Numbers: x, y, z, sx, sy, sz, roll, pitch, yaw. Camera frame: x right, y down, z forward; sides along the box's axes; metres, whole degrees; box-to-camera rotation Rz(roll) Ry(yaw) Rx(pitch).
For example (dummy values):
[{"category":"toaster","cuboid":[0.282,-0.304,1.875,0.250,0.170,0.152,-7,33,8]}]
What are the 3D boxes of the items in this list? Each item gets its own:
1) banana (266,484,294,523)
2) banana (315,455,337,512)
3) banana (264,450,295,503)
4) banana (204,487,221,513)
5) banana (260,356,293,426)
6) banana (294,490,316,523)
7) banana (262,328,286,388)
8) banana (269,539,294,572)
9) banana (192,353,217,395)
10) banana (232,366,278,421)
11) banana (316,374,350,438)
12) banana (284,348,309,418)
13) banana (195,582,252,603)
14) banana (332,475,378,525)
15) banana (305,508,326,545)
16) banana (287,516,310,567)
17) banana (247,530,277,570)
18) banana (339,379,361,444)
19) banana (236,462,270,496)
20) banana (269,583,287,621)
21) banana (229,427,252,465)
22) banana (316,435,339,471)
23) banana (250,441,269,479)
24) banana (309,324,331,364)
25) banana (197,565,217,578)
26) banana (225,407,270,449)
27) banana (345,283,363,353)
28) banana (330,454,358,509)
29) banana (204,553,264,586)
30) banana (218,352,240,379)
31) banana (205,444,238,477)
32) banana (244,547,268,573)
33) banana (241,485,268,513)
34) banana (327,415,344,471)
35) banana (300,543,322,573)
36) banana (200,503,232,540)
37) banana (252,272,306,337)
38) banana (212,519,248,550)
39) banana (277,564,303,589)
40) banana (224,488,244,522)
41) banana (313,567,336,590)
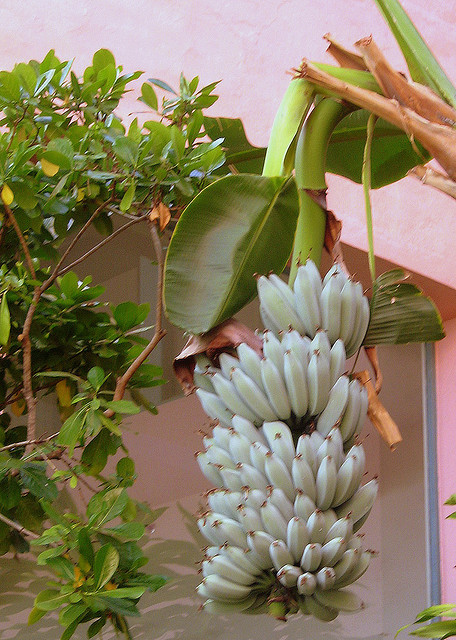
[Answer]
[{"category":"banana","cuboid":[0.081,0.278,1.225,0.023,0.072,0.023,-28,6,7]},{"category":"banana","cuboid":[0.152,0.257,1.258,0.033,0.085,0.070,-4,-15,4]},{"category":"banana","cuboid":[0.078,0.237,1.237,0.031,0.086,0.026,-27,7,1]},{"category":"banana","cuboid":[-0.029,0.299,1.316,0.019,0.053,0.045,3,15,2]},{"category":"banana","cuboid":[0.080,0.115,1.296,0.035,0.107,0.036,-5,14,41]},{"category":"banana","cuboid":[0.116,0.282,1.220,0.029,0.047,0.015,-27,12,-4]},{"category":"banana","cuboid":[0.069,0.061,1.295,0.029,0.085,0.026,-13,-11,-1]},{"category":"banana","cuboid":[0.078,0.348,1.196,0.027,0.048,0.022,-34,10,-13]},{"category":"banana","cuboid":[-0.044,0.091,1.354,0.016,0.058,0.038,-26,-26,25]},{"category":"banana","cuboid":[0.041,0.120,1.320,0.037,0.116,0.039,-35,-4,-4]},{"category":"banana","cuboid":[0.170,0.138,1.288,0.042,0.111,0.034,16,2,-4]},{"category":"banana","cuboid":[0.108,0.100,1.276,0.036,0.102,0.033,-13,8,-12]},{"category":"banana","cuboid":[-0.009,0.429,1.257,0.082,0.021,0.063,-1,-21,17]},{"category":"banana","cuboid":[0.192,0.292,1.330,0.046,0.053,0.135,12,-28,-25]},{"category":"banana","cuboid":[0.133,0.312,1.215,0.021,0.061,0.020,-3,13,36]},{"category":"banana","cuboid":[0.105,0.328,1.223,0.036,0.031,0.107,22,22,-8]},{"category":"banana","cuboid":[0.049,0.344,1.209,0.031,0.052,0.018,-35,1,20]},{"category":"banana","cuboid":[0.200,0.148,1.304,0.032,0.096,0.038,19,22,35]},{"category":"banana","cuboid":[0.039,0.246,1.249,0.024,0.074,0.023,-45,-9,-2]},{"category":"banana","cuboid":[0.077,0.431,1.235,0.018,0.053,0.028,-12,-1,2]},{"category":"banana","cuboid":[0.018,0.200,1.272,0.023,0.057,0.049,13,-22,-43]},{"category":"banana","cuboid":[0.154,0.208,1.245,0.016,0.045,0.040,5,10,34]},{"category":"banana","cuboid":[0.050,0.218,1.247,0.019,0.054,0.018,-8,18,-3]},{"category":"banana","cuboid":[0.148,0.039,1.304,0.023,0.062,0.025,8,-16,-33]},{"category":"banana","cuboid":[-0.034,0.390,1.249,0.021,0.024,0.009,27,15,38]},{"category":"banana","cuboid":[0.036,0.171,1.307,0.027,0.086,0.031,-47,0,3]},{"category":"banana","cuboid":[0.214,-0.004,1.409,0.026,0.112,0.032,16,27,18]},{"category":"banana","cuboid":[0.185,0.254,1.262,0.031,0.085,0.033,15,3,-20]},{"category":"banana","cuboid":[0.007,0.384,1.228,0.114,0.036,0.028,18,-10,-7]},{"category":"banana","cuboid":[-0.002,0.073,1.328,0.031,0.039,0.011,-43,-22,25]},{"category":"banana","cuboid":[-0.012,0.225,1.297,0.033,0.053,0.014,-57,-9,34]},{"category":"banana","cuboid":[0.043,0.364,1.223,0.016,0.056,0.019,-52,8,-18]},{"category":"banana","cuboid":[0.041,0.276,1.232,0.024,0.034,0.019,-40,-15,-37]},{"category":"banana","cuboid":[0.159,0.195,1.256,0.023,0.073,0.028,4,8,-14]},{"category":"banana","cuboid":[0.125,0.359,1.209,0.033,0.043,0.044,-2,-15,-1]},{"category":"banana","cuboid":[-0.016,0.318,1.296,0.016,0.038,0.039,-8,-45,-41]},{"category":"banana","cuboid":[0.088,-0.024,1.343,0.079,0.103,0.043,-3,-16,1]},{"category":"banana","cuboid":[0.005,0.329,1.245,0.038,0.051,0.015,-30,-2,14]},{"category":"banana","cuboid":[0.091,0.380,1.196,0.038,0.032,0.038,-49,-18,-11]},{"category":"banana","cuboid":[0.007,0.289,1.248,0.013,0.042,0.035,-4,-11,-27]},{"category":"banana","cuboid":[0.147,0.387,1.207,0.014,0.030,0.038,-12,30,42]}]
